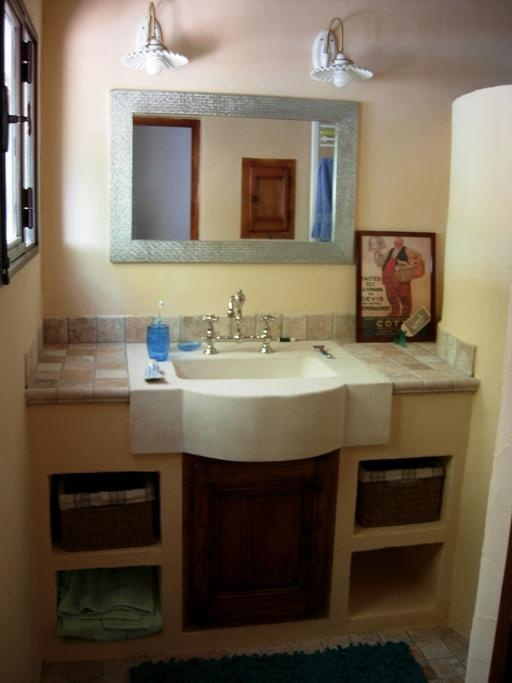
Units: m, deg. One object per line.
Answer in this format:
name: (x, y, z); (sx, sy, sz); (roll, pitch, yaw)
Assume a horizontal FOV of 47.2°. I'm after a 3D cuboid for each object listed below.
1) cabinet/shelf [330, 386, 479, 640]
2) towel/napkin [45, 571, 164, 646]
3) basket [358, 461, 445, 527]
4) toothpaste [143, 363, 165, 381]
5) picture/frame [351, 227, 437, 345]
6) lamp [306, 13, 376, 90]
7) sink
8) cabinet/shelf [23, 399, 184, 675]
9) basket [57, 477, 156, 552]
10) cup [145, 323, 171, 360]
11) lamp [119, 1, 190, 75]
cabinet/shelf: (0.429, 0.541, 2.062); (0.385, 0.774, 0.393); (0, 5, -10)
towel/napkin: (-0.453, 0.818, 1.820); (0.222, 0.074, 0.228); (0, 5, -11)
basket: (0.461, 0.485, 1.994); (0.305, 0.213, 0.188); (1, 14, -20)
toothpaste: (-0.290, 0.082, 1.699); (0.043, 0.020, 0.060); (1, 20, -11)
picture/frame: (0.529, -0.231, 2.309); (0.429, 0.639, 0.025); (-1, 6, -5)
lamp: (0.286, -0.991, 2.042); (0.162, 0.221, 0.189); (3, 0, 37)
sink: (0.002, 0.185, 1.833); (0.786, 0.278, 0.566); (0, 4, -13)
cabinet/shelf: (-0.436, 0.554, 1.869); (0.408, 0.786, 0.424); (-1, -1, -6)
basket: (-0.453, 0.504, 1.789); (0.224, 0.144, 0.229); (0, 3, -16)
cup: (-0.323, -0.003, 1.925); (0.103, 0.159, 0.099); (2, 6, 0)
lamp: (-0.332, -1.003, 1.907); (0.194, 0.278, 0.230); (0, 4, -13)
